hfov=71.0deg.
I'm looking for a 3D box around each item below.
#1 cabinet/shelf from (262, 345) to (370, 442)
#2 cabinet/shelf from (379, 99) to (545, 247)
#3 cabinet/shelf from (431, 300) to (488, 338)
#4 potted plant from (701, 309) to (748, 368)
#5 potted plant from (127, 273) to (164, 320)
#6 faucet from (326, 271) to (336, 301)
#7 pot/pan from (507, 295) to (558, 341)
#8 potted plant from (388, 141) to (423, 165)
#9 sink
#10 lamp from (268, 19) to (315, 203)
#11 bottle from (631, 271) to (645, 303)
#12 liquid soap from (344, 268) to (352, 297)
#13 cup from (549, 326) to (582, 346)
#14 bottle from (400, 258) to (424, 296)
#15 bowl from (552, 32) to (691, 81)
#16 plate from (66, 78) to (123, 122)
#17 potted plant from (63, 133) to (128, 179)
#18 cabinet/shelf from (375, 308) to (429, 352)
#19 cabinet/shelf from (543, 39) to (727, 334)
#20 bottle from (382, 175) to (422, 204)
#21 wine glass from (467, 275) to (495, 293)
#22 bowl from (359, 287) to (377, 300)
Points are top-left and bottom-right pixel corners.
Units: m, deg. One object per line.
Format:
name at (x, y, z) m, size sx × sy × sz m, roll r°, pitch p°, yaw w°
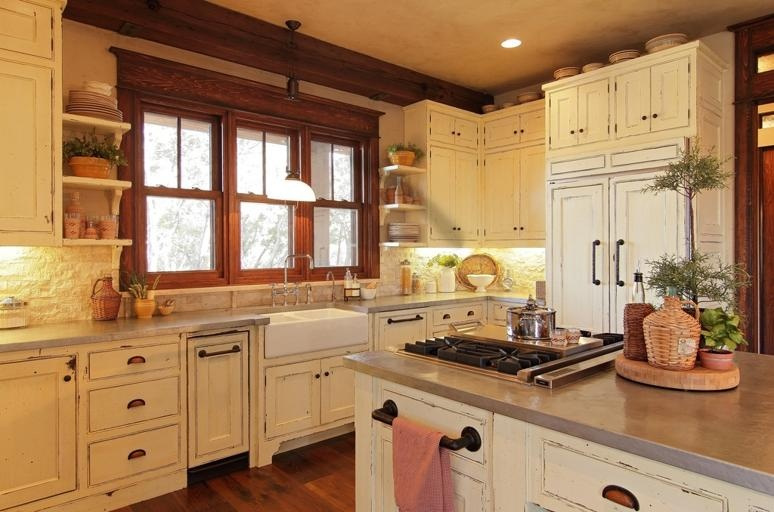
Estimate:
cabinet/shelf at (-0.361, 1.184, 4.547) m, size 1.121 × 0.608 × 0.589 m, roll -21°, pitch -37°, yaw 26°
cabinet/shelf at (0.834, -0.831, 6.064) m, size 1.803 × 1.333 × 1.759 m, roll 1°, pitch -3°, yaw -44°
cabinet/shelf at (0.747, 0.698, 5.346) m, size 0.574 × 0.428 × 0.205 m, roll -10°, pitch -27°, yaw 26°
potted plant at (1.611, 0.403, 2.597) m, size 0.253 × 0.232 × 0.239 m, roll 2°, pitch -2°, yaw 14°
potted plant at (-1.904, 0.309, 4.276) m, size 0.239 × 0.321 × 0.275 m, roll -2°, pitch 1°, yaw -18°
faucet at (-0.536, 0.288, 5.286) m, size 0.088 × 0.224 × 0.194 m, roll -2°, pitch 1°, yaw -6°
pot/pan at (0.841, 0.368, 3.085) m, size 0.299 × 0.163 × 0.211 m, roll -1°, pitch 1°, yaw -33°
potted plant at (0.199, -1.043, 5.571) m, size 0.321 × 0.127 × 0.298 m, roll -1°, pitch -1°, yaw 26°
sink at (-0.715, 0.642, 4.660) m, size 0.984 × 0.243 × 0.659 m, roll -3°, pitch 4°, yaw -43°
lamp at (-0.870, -1.229, 4.811) m, size 0.402 × 1.266 × 0.597 m, roll -2°, pitch 1°, yaw -11°
bottle at (1.299, 0.157, 2.789) m, size 0.042 × 0.166 × 0.252 m, roll -2°, pitch 0°, yaw 27°
liquid soap at (-0.371, 0.266, 5.317) m, size 0.110 × 0.226 × 0.276 m, roll -2°, pitch 0°, yaw -4°
cup at (0.967, 0.440, 2.952) m, size 0.122 × 0.053 × 0.160 m, roll -2°, pitch -1°, yaw 11°
bottle at (0.284, 0.218, 5.831) m, size 0.165 × 0.266 × 0.353 m, roll -1°, pitch 0°, yaw 38°
bowl at (2.063, -1.752, 4.815) m, size 1.051 × 0.137 × 0.222 m, roll -1°, pitch 1°, yaw 42°
plate at (-2.123, -1.122, 3.951) m, size 0.371 × 0.184 × 0.365 m, roll 0°, pitch 2°, yaw -37°
potted plant at (-2.151, -0.717, 4.065) m, size 0.424 × 0.236 × 0.293 m, roll 9°, pitch -7°, yaw -7°
cabinet/shelf at (0.079, 0.716, 5.125) m, size 0.585 × 0.417 × 0.351 m, roll -1°, pitch 8°, yaw -27°
cabinet/shelf at (2.346, -0.292, 4.978) m, size 0.940 × 2.842 × 1.471 m, roll -1°, pitch 1°, yaw -27°
bottle at (0.158, -0.689, 5.667) m, size 0.393 × 0.306 × 0.187 m, roll 3°, pitch -12°, yaw -32°
wine glass at (1.055, 0.313, 6.034) m, size 0.269 × 0.129 × 0.232 m, roll -2°, pitch -8°, yaw 12°
bowl at (-0.167, 0.358, 5.278) m, size 0.127 × 0.073 × 0.129 m, roll -2°, pitch -10°, yaw 0°
